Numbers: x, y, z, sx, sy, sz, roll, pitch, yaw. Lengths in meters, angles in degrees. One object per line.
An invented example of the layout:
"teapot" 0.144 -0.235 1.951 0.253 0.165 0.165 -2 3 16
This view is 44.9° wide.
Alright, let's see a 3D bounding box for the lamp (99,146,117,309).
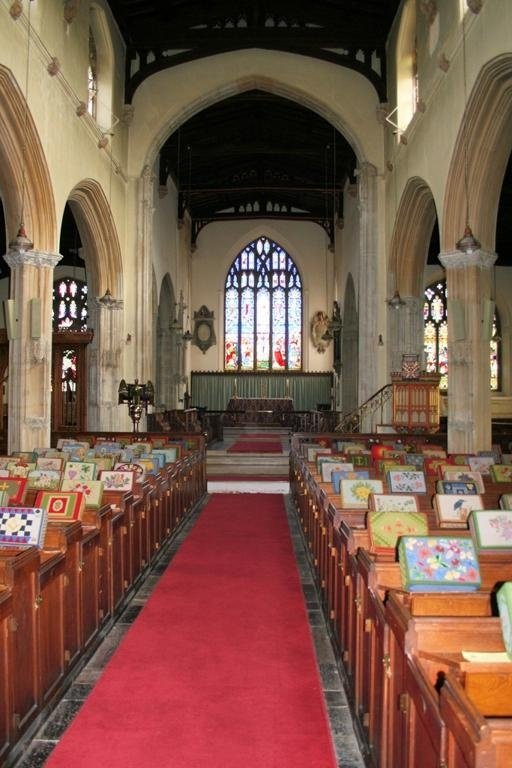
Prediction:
"lamp" -3.043 -3.391 12.874 0.406 3.520 1.752 2 -3 -12
